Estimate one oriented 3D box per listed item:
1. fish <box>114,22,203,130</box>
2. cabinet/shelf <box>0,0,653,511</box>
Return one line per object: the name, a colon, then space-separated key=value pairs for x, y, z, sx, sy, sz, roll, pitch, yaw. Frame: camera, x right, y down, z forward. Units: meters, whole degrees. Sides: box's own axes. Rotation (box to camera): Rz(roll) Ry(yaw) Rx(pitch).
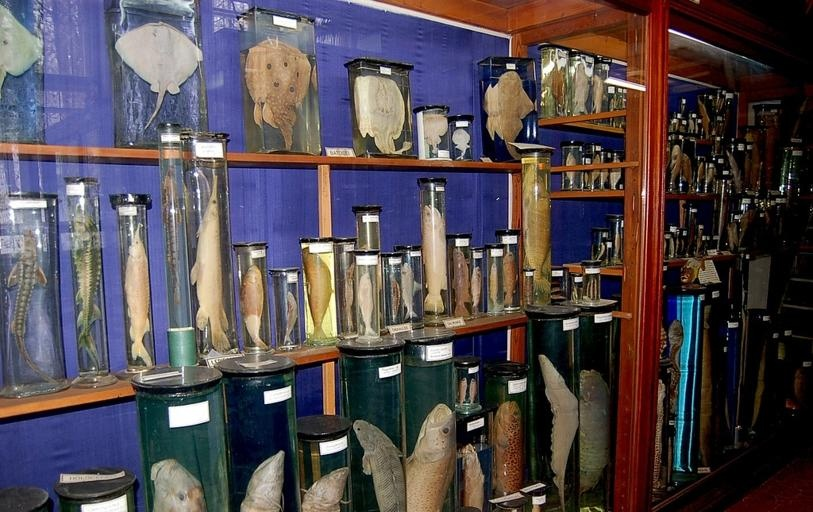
fish: x=-1.038 y=-0.764 z=3.179 sx=0.309 sy=0.423 sz=0.058 roll=9 pitch=-3 yaw=-31
cabinet/shelf: x=-0.409 y=-0.007 z=3.420 sx=2.470 sy=2.462 sz=0.792 roll=-1 pitch=1 yaw=-32
